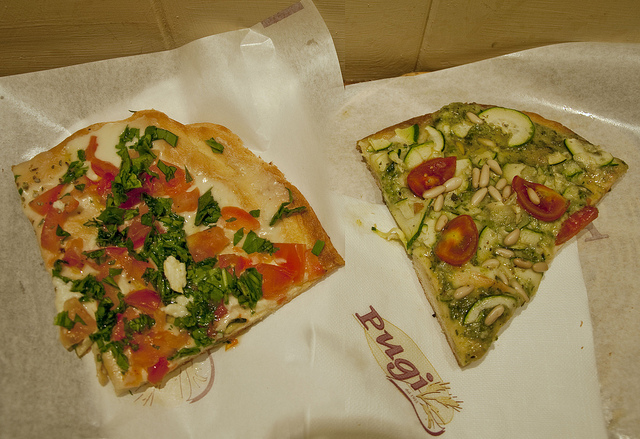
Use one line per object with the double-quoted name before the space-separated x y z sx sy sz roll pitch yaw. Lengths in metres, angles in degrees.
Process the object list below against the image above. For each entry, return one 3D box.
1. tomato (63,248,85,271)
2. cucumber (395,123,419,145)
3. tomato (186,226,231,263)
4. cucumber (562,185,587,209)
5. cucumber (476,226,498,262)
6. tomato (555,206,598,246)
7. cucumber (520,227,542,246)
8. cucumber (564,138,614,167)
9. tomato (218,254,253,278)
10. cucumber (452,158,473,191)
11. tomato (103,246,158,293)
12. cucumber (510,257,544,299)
"tomato" -1.961 0.330 4.161 0.119 0.040 0.189 -38 77 -5
"cucumber" 0.764 -0.738 4.518 0.174 0.040 0.185 -8 63 8
"tomato" -0.899 0.185 4.231 0.310 0.087 0.230 -29 76 -2
"cucumber" 2.098 -0.191 4.314 0.182 0.054 0.187 1 81 -12
"cucumber" 1.345 0.182 4.200 0.172 0.057 0.248 8 87 -6
"tomato" 2.066 0.037 4.278 0.454 0.043 0.144 -34 77 -4
"cucumber" 1.696 0.149 4.227 0.177 0.031 0.124 14 78 8
"cucumber" 2.240 -0.575 4.381 0.323 0.048 0.205 34 58 11
"tomato" -0.689 0.370 4.215 0.275 0.089 0.174 9 78 7
"cucumber" 1.198 -0.371 4.406 0.208 0.057 0.225 -11 84 -7
"tomato" -1.473 0.375 4.145 0.433 0.104 0.273 40 90 -5
"cucumber" 1.655 0.426 4.216 0.229 0.117 0.332 -37 77 -4
